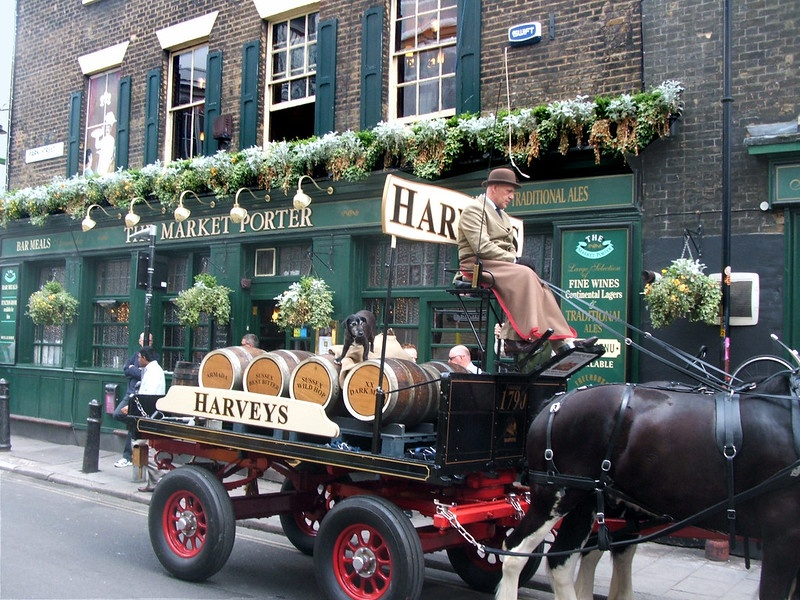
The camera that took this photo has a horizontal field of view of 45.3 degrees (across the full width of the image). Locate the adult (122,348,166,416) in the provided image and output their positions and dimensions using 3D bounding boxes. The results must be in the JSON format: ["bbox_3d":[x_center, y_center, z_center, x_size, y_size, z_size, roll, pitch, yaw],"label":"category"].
[{"bbox_3d":[-3.893,1.251,14.506,0.460,1.504,0.633,5,-18,-21],"label":"adult"}]

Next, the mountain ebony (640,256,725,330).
[{"bbox_3d":[3.633,-0.072,12.444,0.963,1.040,0.803,1,1,44],"label":"mountain ebony"}]

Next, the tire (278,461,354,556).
[{"bbox_3d":[-0.931,2.328,10.810,0.518,1.409,1.320,1,-4,-32],"label":"tire"}]

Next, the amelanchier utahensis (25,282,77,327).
[{"bbox_3d":[-6.706,0.083,18.520,0.824,0.891,0.829,-1,-2,-5],"label":"amelanchier utahensis"}]

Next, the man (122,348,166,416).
[{"bbox_3d":[-3.893,1.251,14.506,0.460,1.504,0.633,5,-18,-21],"label":"man"}]

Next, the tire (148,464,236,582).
[{"bbox_3d":[-2.327,2.537,10.730,1.105,1.325,0.375,-5,-6,35],"label":"tire"}]

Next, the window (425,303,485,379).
[{"bbox_3d":[0.871,0.408,14.386,0.944,0.080,1.154,2,33,4],"label":"window"}]

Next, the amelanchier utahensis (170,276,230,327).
[{"bbox_3d":[-3.317,0.064,16.385,0.860,0.871,0.871,7,13,35],"label":"amelanchier utahensis"}]

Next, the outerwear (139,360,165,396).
[{"bbox_3d":[-3.884,1.229,14.948,0.277,0.435,0.490,5,-8,-32],"label":"outerwear"}]

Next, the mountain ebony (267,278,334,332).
[{"bbox_3d":[-1.493,0.045,15.142,0.808,0.785,0.832,1,8,-3],"label":"mountain ebony"}]

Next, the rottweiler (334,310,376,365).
[{"bbox_3d":[-0.467,0.382,10.676,0.367,0.560,0.950,4,9,12],"label":"rottweiler"}]

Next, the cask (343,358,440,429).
[{"bbox_3d":[-0.010,1.080,10.398,0.702,1.054,0.701,-3,2,-4],"label":"cask"}]
